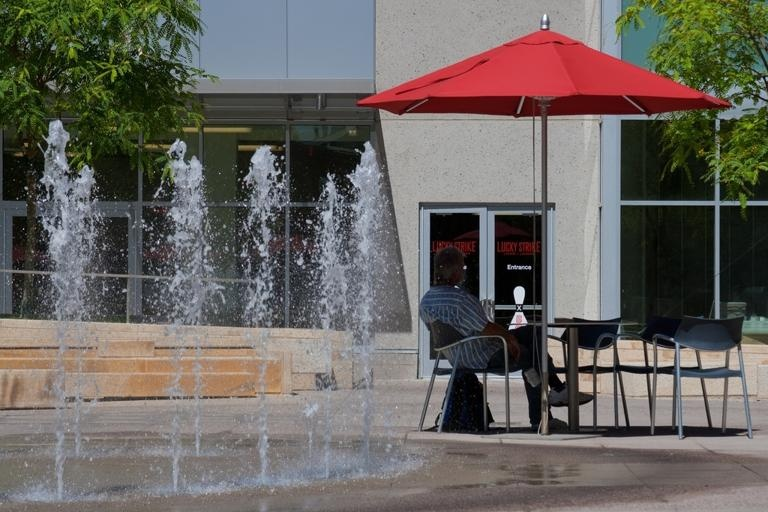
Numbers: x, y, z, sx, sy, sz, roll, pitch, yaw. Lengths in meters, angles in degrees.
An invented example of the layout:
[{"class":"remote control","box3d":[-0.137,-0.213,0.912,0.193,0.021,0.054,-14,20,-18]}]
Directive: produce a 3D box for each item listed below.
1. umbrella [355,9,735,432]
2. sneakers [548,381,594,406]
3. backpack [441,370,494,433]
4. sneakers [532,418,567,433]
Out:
[{"class":"umbrella","box3d":[1.882,-0.338,17.926,4.697,4.681,4.727,0,-4,5]},{"class":"sneakers","box3d":[2.209,1.609,16.720,0.638,0.304,0.233,-2,-1,4]},{"class":"backpack","box3d":[0.939,1.757,16.891,0.469,0.646,0.596,0,-15,11]},{"class":"sneakers","box3d":[1.905,1.956,16.660,0.461,0.195,0.156,-2,2,-8]}]
